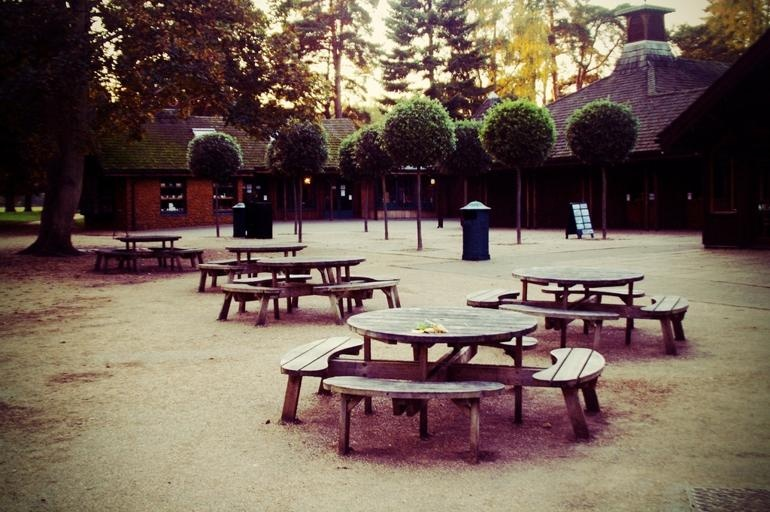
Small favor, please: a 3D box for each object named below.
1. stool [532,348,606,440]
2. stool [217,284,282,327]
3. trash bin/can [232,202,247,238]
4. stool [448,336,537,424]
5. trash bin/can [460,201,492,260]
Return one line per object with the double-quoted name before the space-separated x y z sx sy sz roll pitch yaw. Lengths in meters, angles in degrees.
"stool" 1.977 1.447 7.397 0.658 0.838 0.908 0 0 23
"stool" -2.185 0.750 11.217 0.885 0.630 1.450 -1 0 -39
"trash bin/can" -5.900 -1.446 28.294 0.475 1.317 0.714 0 1 -10
"stool" 1.278 1.324 7.927 0.928 0.710 0.955 -1 3 0
"trash bin/can" 2.402 -0.672 18.125 0.710 1.534 0.878 0 1 7
